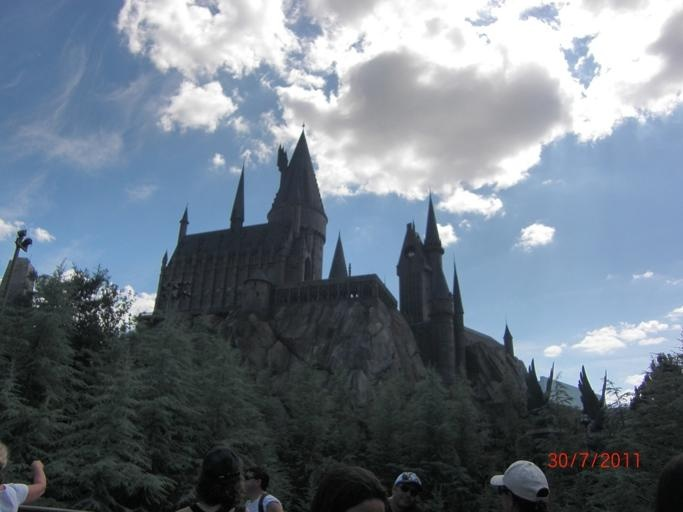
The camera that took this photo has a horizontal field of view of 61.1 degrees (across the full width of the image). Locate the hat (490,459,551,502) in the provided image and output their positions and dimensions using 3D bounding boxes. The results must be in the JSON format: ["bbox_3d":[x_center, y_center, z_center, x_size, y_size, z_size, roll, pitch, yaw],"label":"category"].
[{"bbox_3d":[3.709,4.595,11.965,1.014,0.637,0.729,8,-6,41],"label":"hat"}]
